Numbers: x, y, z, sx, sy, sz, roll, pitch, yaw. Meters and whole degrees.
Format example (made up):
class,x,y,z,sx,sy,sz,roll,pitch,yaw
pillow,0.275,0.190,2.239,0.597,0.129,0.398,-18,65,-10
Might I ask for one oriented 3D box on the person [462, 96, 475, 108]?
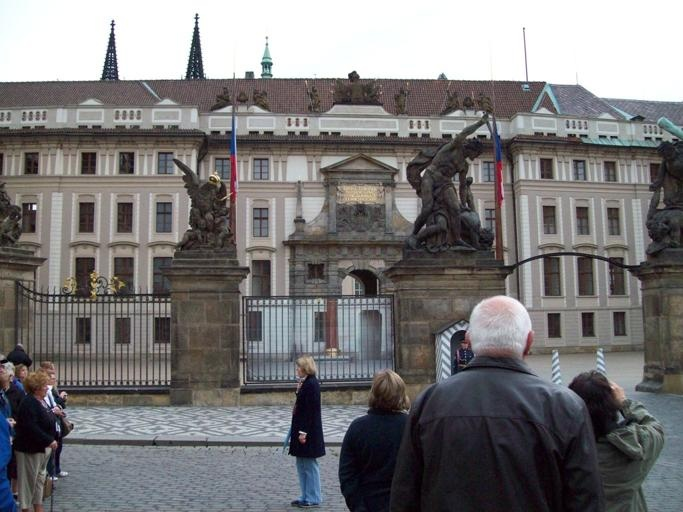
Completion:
class,x,y,z,sx,sy,sz,roll,pitch,yaw
person,6.950,-8.362,57.154,0.856,0.617,1.052,-1,9,7

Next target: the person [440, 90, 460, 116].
class,x,y,z,sx,sy,sz,roll,pitch,yaw
person,5.986,-8.198,57.780,0.741,1.014,2.534,-1,-5,8

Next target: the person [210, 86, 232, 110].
class,x,y,z,sx,sy,sz,roll,pitch,yaw
person,-6.233,-8.346,55.911,1.394,1.449,0.386,-9,-26,40

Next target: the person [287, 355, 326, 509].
class,x,y,z,sx,sy,sz,roll,pitch,yaw
person,-0.846,4.245,25.590,0.842,3.635,0.440,0,-7,-4

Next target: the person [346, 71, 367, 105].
class,x,y,z,sx,sy,sz,roll,pitch,yaw
person,0.782,-9.065,56.057,0.836,1.946,0.282,-1,-25,-5

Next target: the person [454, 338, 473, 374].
class,x,y,z,sx,sy,sz,roll,pitch,yaw
person,3.503,3.084,29.739,0.568,1.432,0.314,-4,-30,9

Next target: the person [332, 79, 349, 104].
class,x,y,z,sx,sy,sz,roll,pitch,yaw
person,0.046,-8.721,56.306,0.994,1.456,0.529,2,1,8
